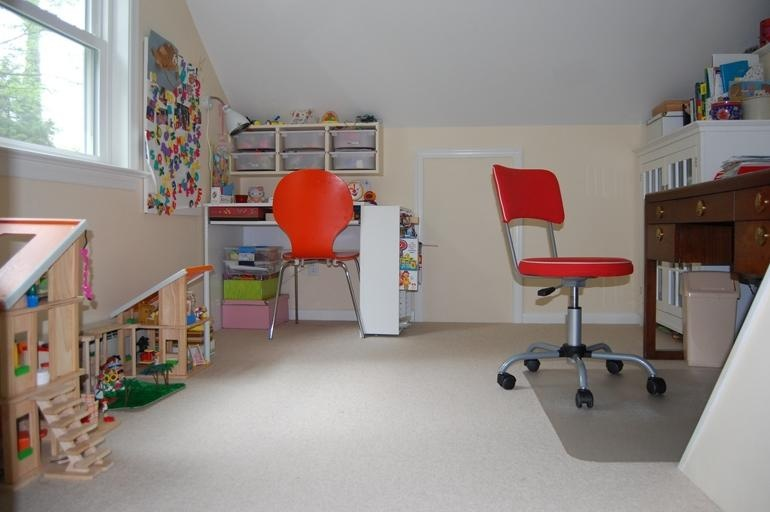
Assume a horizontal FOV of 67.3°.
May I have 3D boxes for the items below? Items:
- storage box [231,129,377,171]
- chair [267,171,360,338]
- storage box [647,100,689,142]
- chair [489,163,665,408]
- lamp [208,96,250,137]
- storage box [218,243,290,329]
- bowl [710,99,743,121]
[{"bbox_3d":[-0.655,-0.834,4.532,1.195,0.372,0.118,2,14,8],"label":"storage box"},{"bbox_3d":[-0.541,-0.027,4.254,0.698,1.227,0.748,-2,14,-7],"label":"chair"},{"bbox_3d":[2.020,-0.974,4.218,0.267,0.251,0.397,0,1,-5],"label":"storage box"},{"bbox_3d":[1.009,0.111,3.079,0.840,1.141,0.895,-2,5,-19],"label":"chair"},{"bbox_3d":[-1.205,-1.056,4.397,0.304,0.292,0.315,-4,14,-15],"label":"lamp"},{"bbox_3d":[-0.892,0.238,4.668,0.601,0.750,0.565,1,4,2],"label":"storage box"},{"bbox_3d":[2.198,-0.927,3.712,0.222,0.155,0.121,4,10,25],"label":"bowl"}]
